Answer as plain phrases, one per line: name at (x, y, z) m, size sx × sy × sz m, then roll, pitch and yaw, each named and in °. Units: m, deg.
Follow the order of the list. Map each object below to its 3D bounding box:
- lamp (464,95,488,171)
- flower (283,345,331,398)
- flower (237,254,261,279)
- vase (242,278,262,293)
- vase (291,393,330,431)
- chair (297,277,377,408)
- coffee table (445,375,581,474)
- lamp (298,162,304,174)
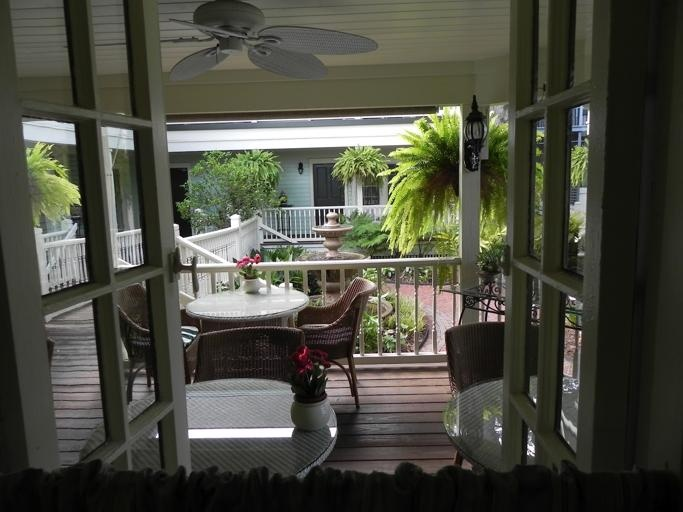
lamp at (0.984, -0.891, 4.016) m, size 0.164 × 0.496 × 0.479 m, roll 0°, pitch 5°, yaw 13°
flower at (-0.153, 0.496, 2.309) m, size 0.160 × 0.219 × 0.202 m, roll 1°, pitch -7°, yaw -6°
flower at (-0.708, 0.080, 4.369) m, size 0.199 × 0.222 × 0.205 m, roll 5°, pitch 5°, yaw 34°
vase at (-0.711, 0.239, 4.365) m, size 0.096 × 0.092 × 0.126 m, roll 0°, pitch 1°, yaw -1°
vase at (-0.122, 0.633, 2.248) m, size 0.129 × 0.112 × 0.133 m, roll -1°, pitch 1°, yaw 14°
chair at (-0.008, 0.614, 4.124) m, size 0.734 × 1.055 × 0.792 m, roll 1°, pitch 3°, yaw -5°
coffee table at (0.496, 0.601, 1.990) m, size 0.446 × 0.113 × 0.459 m, roll -4°, pitch 12°, yaw 4°
lamp at (-0.852, -1.854, 11.571) m, size 0.125 × 0.249 × 0.044 m, roll -1°, pitch 5°, yaw 6°
